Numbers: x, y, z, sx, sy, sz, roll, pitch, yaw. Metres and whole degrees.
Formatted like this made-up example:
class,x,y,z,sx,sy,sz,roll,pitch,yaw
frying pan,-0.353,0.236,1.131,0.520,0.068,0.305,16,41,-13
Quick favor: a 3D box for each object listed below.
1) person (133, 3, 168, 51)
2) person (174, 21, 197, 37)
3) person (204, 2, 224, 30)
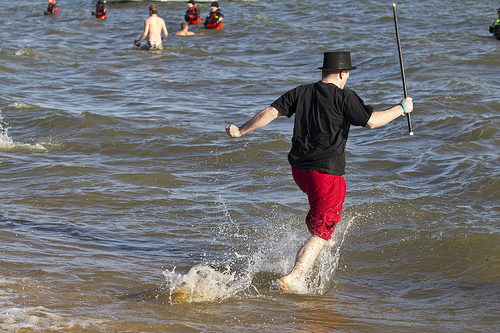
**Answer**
class,x,y,z,sx,sy,sz,roll,pitch,yaw
person,-2.813,-4.040,30.554,0.852,1.299,1.130,8,15,-4
person,-1.982,-4.271,32.924,1.115,0.404,0.329,0,32,-1
person,-1.075,-4.684,32.850,0.603,0.864,0.731,8,15,-3
